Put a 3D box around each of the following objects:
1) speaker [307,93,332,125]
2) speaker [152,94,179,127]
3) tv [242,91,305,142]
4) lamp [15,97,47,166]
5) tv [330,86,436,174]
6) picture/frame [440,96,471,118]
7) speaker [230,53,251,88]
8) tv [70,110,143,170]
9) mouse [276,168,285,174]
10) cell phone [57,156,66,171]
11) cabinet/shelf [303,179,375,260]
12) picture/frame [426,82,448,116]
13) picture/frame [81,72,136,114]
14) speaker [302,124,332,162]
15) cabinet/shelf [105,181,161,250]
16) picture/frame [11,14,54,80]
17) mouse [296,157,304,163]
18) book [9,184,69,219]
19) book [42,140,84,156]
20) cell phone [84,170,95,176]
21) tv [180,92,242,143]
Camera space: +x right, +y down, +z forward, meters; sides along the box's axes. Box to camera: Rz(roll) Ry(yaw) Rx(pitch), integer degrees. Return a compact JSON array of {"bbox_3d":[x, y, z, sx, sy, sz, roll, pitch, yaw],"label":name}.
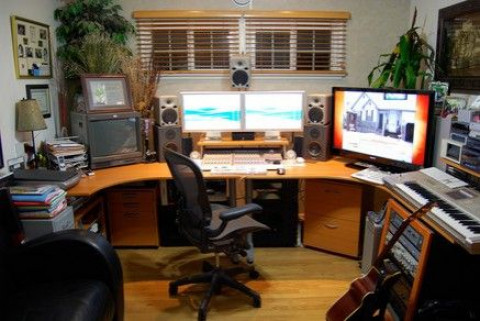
[{"bbox_3d":[0.897,-0.609,4.174,0.225,0.353,0.322,5,17,23],"label":"speaker"},{"bbox_3d":[-0.835,-0.573,4.116,0.274,0.337,0.239,-5,14,-11],"label":"speaker"},{"bbox_3d":[0.393,-0.553,4.146,0.695,0.495,0.184,0,17,2],"label":"tv"},{"bbox_3d":[-2.031,-0.158,3.588,0.241,0.897,0.227,-8,14,-27],"label":"lamp"},{"bbox_3d":[1.410,-0.323,3.747,1.108,0.812,0.281,6,1,-9],"label":"tv"},{"bbox_3d":[1.936,-0.477,3.224,0.022,0.189,0.219,7,18,-25],"label":"picture/frame"},{"bbox_3d":[-0.006,-1.057,4.336,0.256,0.348,0.262,-1,15,-2],"label":"speaker"},{"bbox_3d":[-1.494,-0.282,4.120,0.784,0.532,0.794,-2,13,-7],"label":"tv"},{"bbox_3d":[0.430,0.104,3.711,0.081,0.046,0.133,1,14,10],"label":"mouse"},{"bbox_3d":[-1.780,0.027,3.620,0.066,0.130,0.117,-9,16,-26],"label":"cell phone"},{"bbox_3d":[0.984,0.720,4.204,0.859,0.820,0.849,19,-18,-36],"label":"cabinet/shelf"},{"bbox_3d":[1.919,-0.619,3.486,0.168,0.299,0.171,4,12,27],"label":"picture/frame"},{"bbox_3d":[-1.420,-0.720,3.862,0.450,0.385,0.045,-9,2,-34],"label":"picture/frame"},{"bbox_3d":[0.892,-0.203,4.135,0.274,0.396,0.237,4,1,27],"label":"speaker"},{"bbox_3d":[-1.145,0.603,4.314,0.694,0.988,0.638,0,8,-1],"label":"cabinet/shelf"},{"bbox_3d":[-2.124,-1.152,3.730,0.601,0.589,0.047,16,19,26],"label":"picture/frame"},{"bbox_3d":[0.680,-0.014,3.994,0.067,0.043,0.068,-8,17,-30],"label":"mouse"},{"bbox_3d":[-1.702,0.350,3.102,0.315,0.124,0.307,0,11,-15],"label":"book"},{"bbox_3d":[-1.768,-0.132,3.703,0.233,0.092,0.232,-7,22,-36],"label":"book"},{"bbox_3d":[-1.554,0.122,3.740,0.092,0.030,0.171,-10,16,-29],"label":"cell phone"},{"bbox_3d":[-0.314,-0.515,4.134,0.587,0.432,0.154,0,10,-2],"label":"tv"}]
